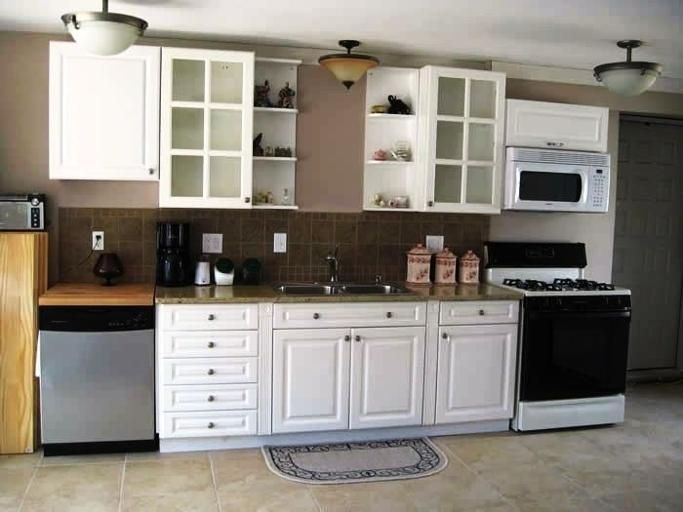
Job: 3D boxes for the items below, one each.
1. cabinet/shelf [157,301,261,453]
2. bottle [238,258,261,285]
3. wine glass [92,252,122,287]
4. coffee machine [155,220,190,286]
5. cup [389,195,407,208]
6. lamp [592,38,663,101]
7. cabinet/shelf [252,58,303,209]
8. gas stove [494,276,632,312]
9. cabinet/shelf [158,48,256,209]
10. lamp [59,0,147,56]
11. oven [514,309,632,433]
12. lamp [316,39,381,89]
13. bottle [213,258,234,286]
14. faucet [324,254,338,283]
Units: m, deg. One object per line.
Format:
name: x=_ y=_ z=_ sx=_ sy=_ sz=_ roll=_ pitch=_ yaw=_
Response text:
cabinet/shelf: x=-0.912 y=0.794 z=4.351 sx=0.905 sy=1.228 sz=0.810 roll=0 pitch=-1 yaw=-12
bottle: x=-0.677 y=0.106 z=4.511 sx=0.163 sy=0.182 sz=0.153 roll=0 pitch=12 yaw=-8
wine glass: x=-1.627 y=0.093 z=4.231 sx=0.209 sy=0.218 sz=0.227 roll=4 pitch=3 yaw=27
coffee machine: x=-1.197 y=-0.020 z=4.314 sx=0.230 sy=0.430 sz=0.239 roll=-1 pitch=12 yaw=-15
cup: x=0.439 y=-0.418 z=4.719 sx=0.102 sy=0.074 sz=0.101 roll=0 pitch=3 yaw=0
lamp: x=1.922 y=-1.218 z=4.105 sx=0.415 sy=0.311 sz=0.414 roll=-1 pitch=7 yaw=-2
cabinet/shelf: x=-0.479 y=-0.888 z=4.444 sx=0.334 sy=1.063 sz=0.379 roll=1 pitch=12 yaw=-6
gas stove: x=1.669 y=0.284 z=4.629 sx=0.903 sy=0.163 sz=0.495 roll=0 pitch=12 yaw=-8
cabinet/shelf: x=-0.933 y=-0.871 z=4.200 sx=0.633 sy=1.057 sz=0.193 roll=0 pitch=12 yaw=-10
lamp: x=-1.345 y=-1.172 z=3.414 sx=0.355 sy=0.239 sz=0.356 roll=2 pitch=3 yaw=36
oven: x=1.695 y=0.838 z=4.810 sx=0.813 sy=1.132 sz=0.919 roll=0 pitch=0 yaw=-9
lamp: x=0.069 y=-1.361 z=4.319 sx=0.388 sy=0.327 sz=0.408 roll=4 pitch=12 yaw=13
bottle: x=-0.843 y=0.115 z=4.355 sx=0.139 sy=0.179 sz=0.189 roll=1 pitch=-4 yaw=-9
faucet: x=-0.078 y=0.095 z=4.640 sx=0.095 sy=0.204 sz=0.147 roll=1 pitch=12 yaw=-4
